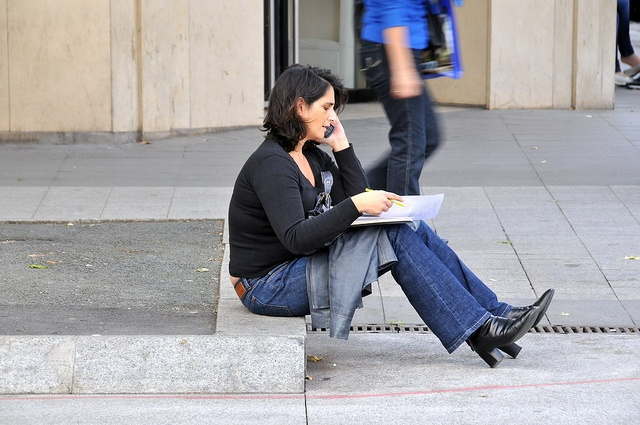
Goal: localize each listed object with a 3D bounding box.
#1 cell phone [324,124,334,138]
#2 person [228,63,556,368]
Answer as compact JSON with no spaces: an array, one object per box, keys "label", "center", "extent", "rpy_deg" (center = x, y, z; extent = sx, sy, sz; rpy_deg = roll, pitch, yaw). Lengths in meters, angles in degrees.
[{"label":"cell phone","center":[0.052,-0.512,4.442],"extent":[0.032,0.053,0.122],"rpy_deg":[28,20,6]},{"label":"person","center":[0.257,0.048,4.212],"extent":[1.460,1.763,0.895],"rpy_deg":[12,24,37]}]
